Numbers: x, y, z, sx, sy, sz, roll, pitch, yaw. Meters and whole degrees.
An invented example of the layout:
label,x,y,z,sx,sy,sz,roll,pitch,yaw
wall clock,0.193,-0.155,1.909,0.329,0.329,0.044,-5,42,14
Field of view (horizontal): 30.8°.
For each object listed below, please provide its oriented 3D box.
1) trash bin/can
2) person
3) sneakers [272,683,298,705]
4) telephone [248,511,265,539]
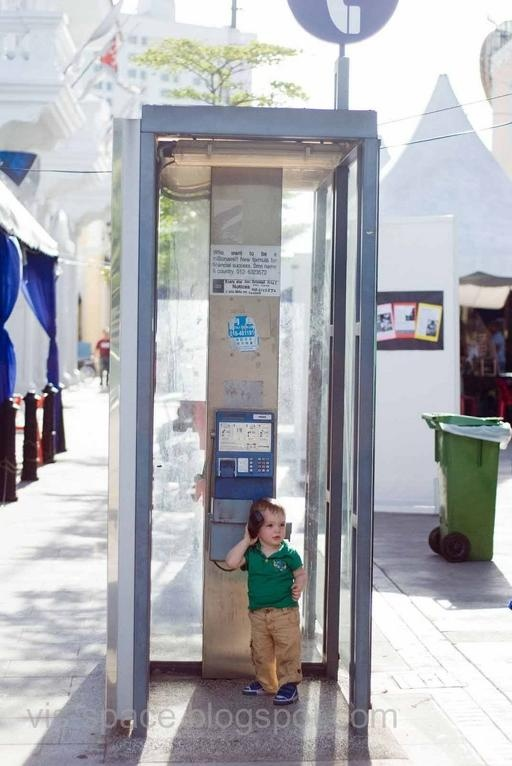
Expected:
label,x,y,z,sx,sy,sz,roll,pitch,yaw
trash bin/can,1.633,0.818,7.210,0.639,1.108,0.436,2,2,16
person,0.082,0.997,4.291,0.281,0.904,0.262,1,2,-1
sneakers,0.132,1.407,4.199,0.047,0.067,0.151,-3,-17,15
telephone,0.005,0.647,4.255,0.036,0.110,0.065,3,43,-14
